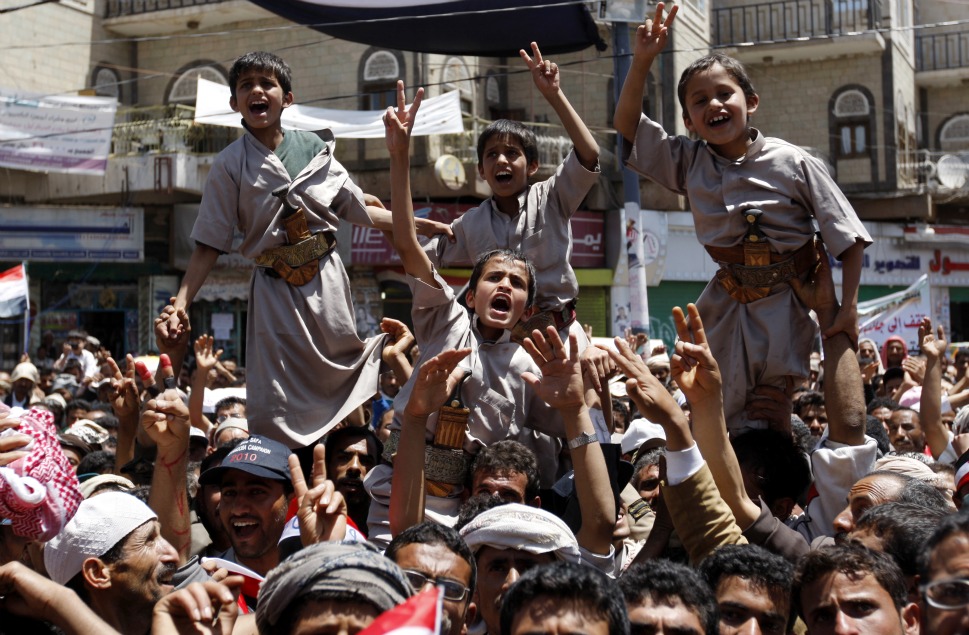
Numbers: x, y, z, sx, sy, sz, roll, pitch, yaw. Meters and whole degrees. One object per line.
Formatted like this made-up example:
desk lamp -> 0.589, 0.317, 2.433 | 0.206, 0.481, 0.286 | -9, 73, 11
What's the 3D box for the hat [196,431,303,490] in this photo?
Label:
hat -> -2.063, 1.302, 12.613 | 0.472, 0.283, 0.657 | -6, -11, 22
